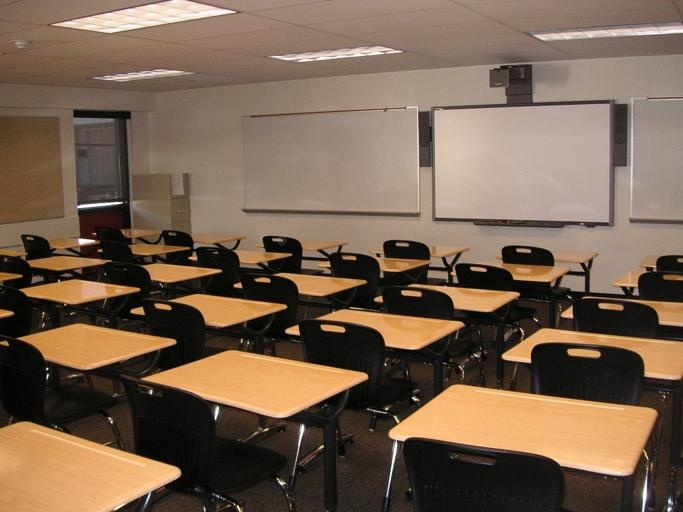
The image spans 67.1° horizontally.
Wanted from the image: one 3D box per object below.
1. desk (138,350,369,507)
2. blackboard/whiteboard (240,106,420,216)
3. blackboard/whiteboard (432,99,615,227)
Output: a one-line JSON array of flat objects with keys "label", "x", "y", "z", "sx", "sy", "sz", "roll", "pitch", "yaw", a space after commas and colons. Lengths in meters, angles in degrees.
[{"label": "desk", "x": -0.353, "y": 0.563, "z": 2.518, "sx": 1.063, "sy": 0.671, "sz": 0.855, "roll": 4, "pitch": 6, "yaw": 36}, {"label": "blackboard/whiteboard", "x": -0.087, "y": -1.576, "z": 8.419, "sx": 2.450, "sy": 1.099, "sz": 0.045, "roll": 1, "pitch": 5, "yaw": 17}, {"label": "blackboard/whiteboard", "x": 2.602, "y": -1.307, "z": 7.125, "sx": 2.284, "sy": 1.319, "sz": 0.233, "roll": 1, "pitch": 6, "yaw": 20}]
